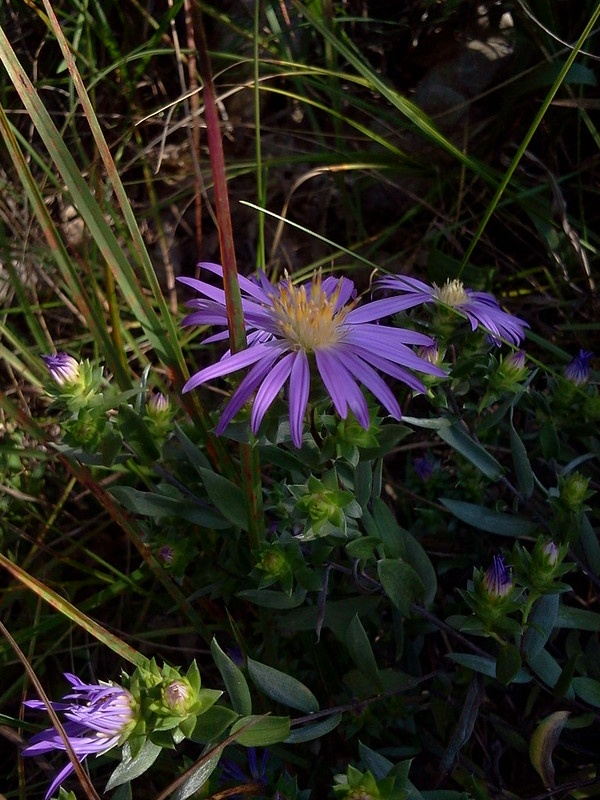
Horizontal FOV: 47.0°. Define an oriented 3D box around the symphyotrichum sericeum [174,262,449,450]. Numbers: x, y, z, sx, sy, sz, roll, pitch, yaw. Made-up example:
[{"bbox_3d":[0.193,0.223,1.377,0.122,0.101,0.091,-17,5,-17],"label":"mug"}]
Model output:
[{"bbox_3d":[0.020,-0.083,1.031,0.335,0.156,0.330,19,26,24],"label":"symphyotrichum sericeum"}]
